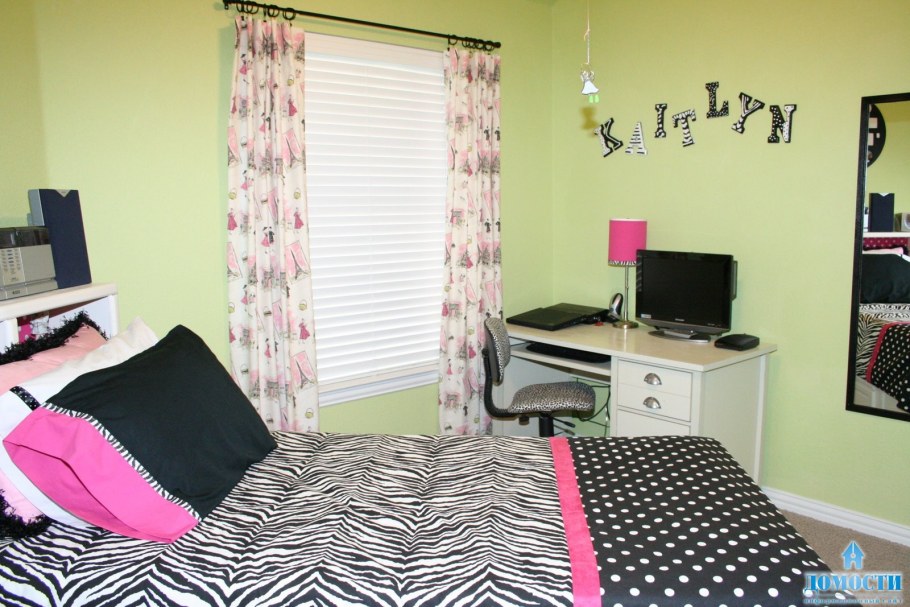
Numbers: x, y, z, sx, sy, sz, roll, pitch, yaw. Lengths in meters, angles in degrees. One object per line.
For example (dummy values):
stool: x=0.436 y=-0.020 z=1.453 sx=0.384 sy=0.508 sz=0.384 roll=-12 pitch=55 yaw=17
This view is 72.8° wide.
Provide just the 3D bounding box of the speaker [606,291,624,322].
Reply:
speaker: x=1.074 y=0.019 z=4.130 sx=0.070 sy=0.178 sz=0.102 roll=9 pitch=-2 yaw=-22

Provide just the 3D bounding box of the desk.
desk: x=1.113 y=0.707 z=4.039 sx=0.837 sy=1.061 sz=1.511 roll=-7 pitch=10 yaw=-38

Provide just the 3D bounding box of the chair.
chair: x=0.532 y=0.565 z=3.884 sx=0.726 sy=0.930 sz=0.691 roll=-1 pitch=1 yaw=8

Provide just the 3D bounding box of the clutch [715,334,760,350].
clutch: x=1.640 y=0.219 z=3.559 sx=0.168 sy=0.048 sz=0.121 roll=-4 pitch=6 yaw=-41

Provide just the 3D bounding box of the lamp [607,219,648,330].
lamp: x=1.132 y=-0.190 z=4.062 sx=0.334 sy=0.698 sz=0.334 roll=0 pitch=6 yaw=10

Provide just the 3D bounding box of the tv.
tv: x=1.418 y=-0.050 z=3.734 sx=0.533 sy=0.464 sz=0.230 roll=6 pitch=10 yaw=41
